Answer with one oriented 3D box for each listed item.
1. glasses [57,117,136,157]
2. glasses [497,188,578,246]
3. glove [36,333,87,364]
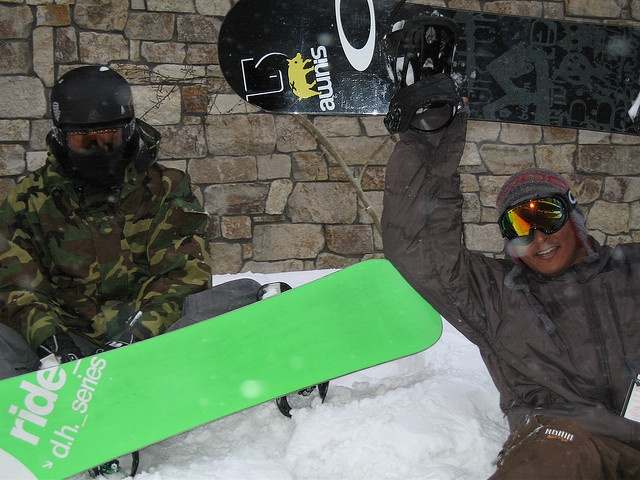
[{"bbox_3d":[-0.957,-0.435,2.648,0.311,0.134,0.065,-7,16,-19],"label":"glasses"},{"bbox_3d":[0.843,-0.089,2.398,0.224,0.107,0.250,-23,1,23],"label":"glasses"},{"bbox_3d":[-1.033,0.439,2.451,0.120,0.150,0.058,-40,-6,-26],"label":"glove"}]
